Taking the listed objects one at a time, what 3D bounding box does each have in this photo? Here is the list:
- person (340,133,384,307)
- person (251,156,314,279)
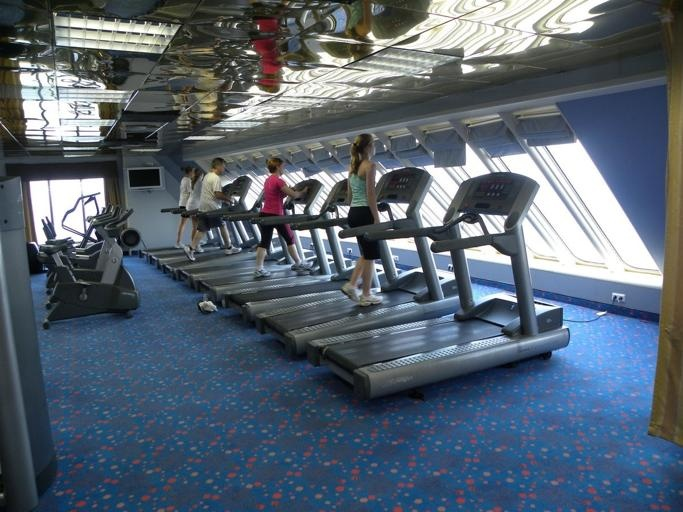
[{"bbox_3d":[0.251,-0.385,5.141,0.666,1.813,0.868,0,1,7],"label":"person"},{"bbox_3d":[-0.772,-0.518,6.543,0.793,1.686,0.846,-2,11,-38],"label":"person"}]
